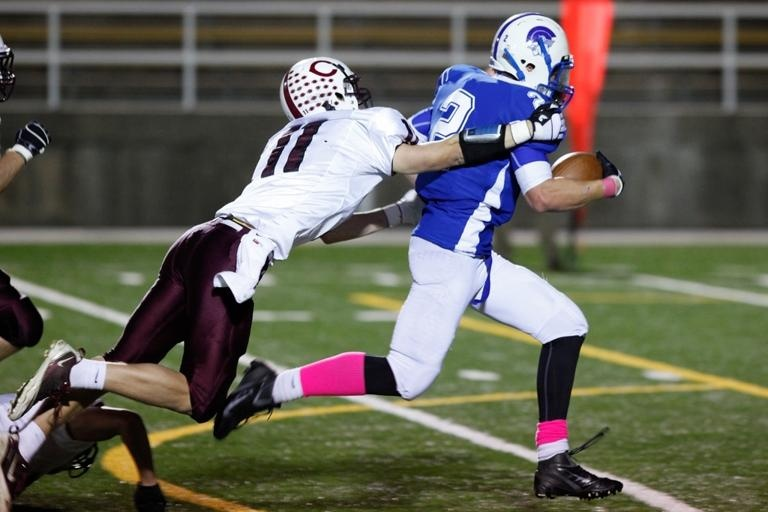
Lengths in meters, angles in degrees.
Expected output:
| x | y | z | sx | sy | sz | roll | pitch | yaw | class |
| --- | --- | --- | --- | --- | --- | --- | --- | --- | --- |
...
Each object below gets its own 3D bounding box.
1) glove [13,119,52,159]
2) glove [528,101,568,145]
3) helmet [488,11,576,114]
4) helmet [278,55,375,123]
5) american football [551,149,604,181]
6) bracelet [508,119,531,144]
| x | y | z | sx | sy | sz | roll | pitch | yaw | class |
| --- | --- | --- | --- | --- | --- | --- | --- | --- | --- |
| -2.077 | -0.681 | 6.674 | 0.191 | 0.232 | 0.104 | 46 | -19 | 1 | glove |
| 0.947 | -0.807 | 6.444 | 0.132 | 0.209 | 0.295 | -22 | -21 | 18 | glove |
| 0.884 | -1.189 | 6.812 | 0.586 | 0.477 | 0.410 | 7 | 15 | -10 | helmet |
| -0.355 | -1.015 | 6.772 | 0.584 | 0.418 | 0.430 | -3 | 14 | -14 | helmet |
| 1.135 | -0.536 | 6.658 | 0.251 | 0.114 | 0.190 | 2 | 6 | -30 | american football |
| 0.773 | -0.706 | 6.390 | 0.140 | 0.125 | 0.058 | -2 | 3 | 6 | bracelet |
